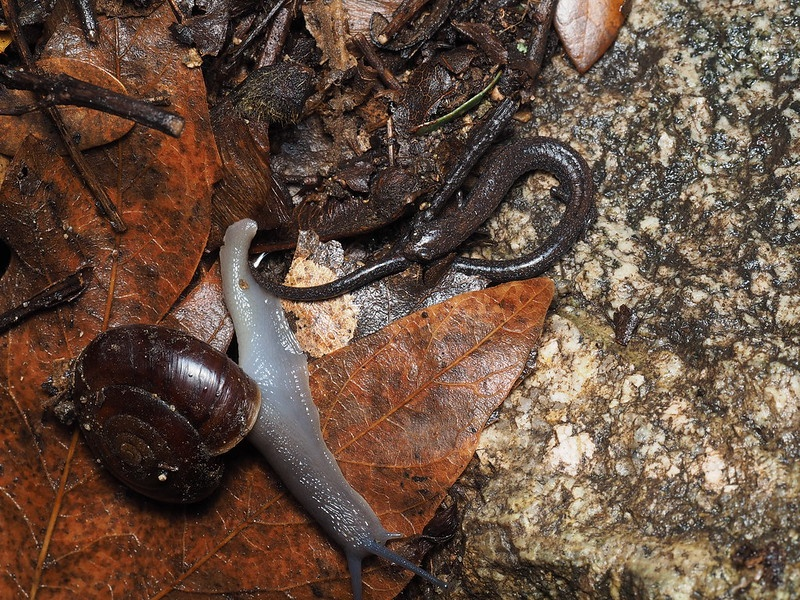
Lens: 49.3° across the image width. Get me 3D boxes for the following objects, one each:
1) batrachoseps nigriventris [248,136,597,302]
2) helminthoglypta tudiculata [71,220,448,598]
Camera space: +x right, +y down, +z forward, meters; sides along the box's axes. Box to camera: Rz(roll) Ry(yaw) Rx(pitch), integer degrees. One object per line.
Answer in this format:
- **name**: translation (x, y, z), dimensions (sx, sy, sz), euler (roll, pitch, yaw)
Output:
- **batrachoseps nigriventris**: translation (0.505, -0.440, 5.040), dimensions (0.916, 2.088, 0.317), euler (67, 8, 17)
- **helminthoglypta tudiculata**: translation (-0.757, 0.678, 4.722), dimensions (2.265, 1.574, 0.694), euler (48, -21, -2)
